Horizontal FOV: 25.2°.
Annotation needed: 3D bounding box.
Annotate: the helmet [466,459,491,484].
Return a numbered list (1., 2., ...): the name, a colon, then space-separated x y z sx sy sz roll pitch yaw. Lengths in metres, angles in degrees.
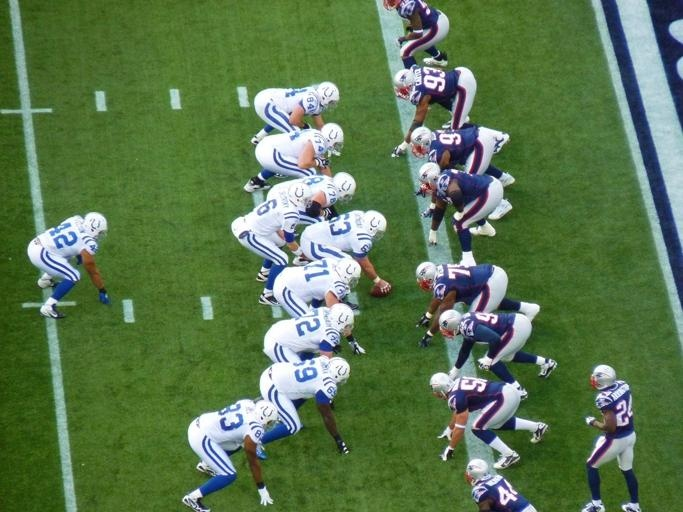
1. helmet: 1.825 2.826 20.352 0.275 0.318 0.336 -16 24 -41

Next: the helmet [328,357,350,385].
1. helmet: 0.021 1.594 20.893 0.300 0.334 0.262 -22 34 1

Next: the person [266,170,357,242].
1. person: -0.390 -0.771 22.381 1.237 0.734 0.506 -7 101 -2

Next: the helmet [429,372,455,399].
1. helmet: 1.378 1.726 20.991 0.285 0.358 0.268 34 41 -16

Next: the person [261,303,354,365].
1. person: -0.431 1.187 21.546 1.306 0.921 0.806 -8 109 0

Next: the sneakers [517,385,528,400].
1. sneakers: 2.530 1.858 21.188 0.160 0.352 0.117 0 69 17

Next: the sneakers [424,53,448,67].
1. sneakers: 1.564 -3.162 24.672 0.434 0.297 0.158 6 90 8

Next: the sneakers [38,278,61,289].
1. sneakers: -4.267 0.376 22.434 0.325 0.218 0.111 -3 81 -19

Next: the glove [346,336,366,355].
1. glove: 0.232 1.266 21.836 0.110 0.332 0.193 -25 72 10

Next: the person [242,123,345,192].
1. person: -0.691 -1.430 23.112 1.324 1.436 0.752 14 31 4

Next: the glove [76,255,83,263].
1. glove: -3.802 0.025 22.329 0.052 0.115 0.119 3 90 3

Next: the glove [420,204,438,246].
1. glove: 1.356 -0.511 23.029 0.205 0.187 0.630 -13 66 18

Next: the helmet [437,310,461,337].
1. helmet: 1.545 0.906 21.353 0.312 0.408 0.389 1 72 2

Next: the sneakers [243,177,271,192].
1. sneakers: -1.279 -1.092 23.367 0.467 0.213 0.157 -4 73 -4

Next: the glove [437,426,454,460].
1. glove: 1.490 2.631 21.231 0.149 0.380 0.389 9 53 -6

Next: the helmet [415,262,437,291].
1. helmet: 1.231 0.299 21.755 0.284 0.615 0.335 8 72 4

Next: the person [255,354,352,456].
1. person: -0.497 2.022 21.231 1.269 0.913 1.469 -2 51 -1

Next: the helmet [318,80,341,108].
1. helmet: -0.159 -2.486 23.224 0.283 0.332 0.385 38 103 -9

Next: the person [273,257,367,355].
1. person: -0.306 0.688 21.997 1.433 1.437 1.111 12 29 1

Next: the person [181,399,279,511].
1. person: -1.474 2.695 20.758 1.198 0.931 1.463 5 72 3

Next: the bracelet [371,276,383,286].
1. bracelet: 0.529 0.356 22.348 0.095 0.125 0.101 -13 87 29

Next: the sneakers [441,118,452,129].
1. sneakers: 1.684 -2.071 23.907 0.114 0.196 0.052 3 73 -16

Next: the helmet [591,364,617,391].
1. helmet: 3.556 1.613 20.573 0.356 0.269 0.293 3 102 22

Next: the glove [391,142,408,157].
1. glove: 0.921 -1.668 23.778 0.228 0.084 0.227 -41 48 -7

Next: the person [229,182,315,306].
1. person: -0.958 -0.115 22.270 1.104 1.708 0.660 -6 52 -10

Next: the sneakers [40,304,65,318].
1. sneakers: -4.199 0.803 22.180 0.429 0.290 0.148 5 67 -23

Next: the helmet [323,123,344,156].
1. helmet: -0.094 -1.775 22.769 0.290 0.340 0.486 -26 73 -7

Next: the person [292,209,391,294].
1. person: 0.124 -0.249 22.337 1.195 0.921 1.546 3 39 -6

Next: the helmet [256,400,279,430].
1. helmet: -0.931 2.110 20.618 0.299 0.261 0.353 -11 90 14

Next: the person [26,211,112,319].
1. person: -3.989 0.034 22.330 1.077 1.444 1.166 -5 32 -29
